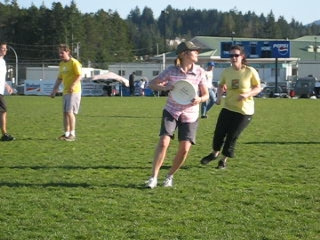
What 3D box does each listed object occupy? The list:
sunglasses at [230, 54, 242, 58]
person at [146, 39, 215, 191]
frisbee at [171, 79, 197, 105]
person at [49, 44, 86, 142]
[{"bbox_3d":[1.271,-1.057,7.455,0.209,0.064,0.067,0,6,-9],"label":"sunglasses"},{"bbox_3d":[0.268,-0.071,6.510,0.907,2.092,0.498,0,5,-4],"label":"person"},{"bbox_3d":[0.339,-0.399,6.423,0.356,0.357,0.177,1,6,2],"label":"frisbee"},{"bbox_3d":[-2.075,-0.588,10.064,0.603,2.171,0.815,-3,7,-35],"label":"person"}]
